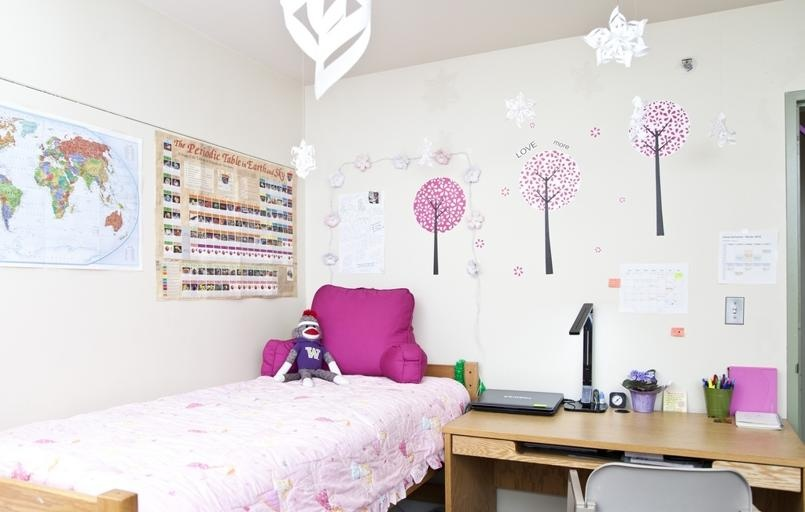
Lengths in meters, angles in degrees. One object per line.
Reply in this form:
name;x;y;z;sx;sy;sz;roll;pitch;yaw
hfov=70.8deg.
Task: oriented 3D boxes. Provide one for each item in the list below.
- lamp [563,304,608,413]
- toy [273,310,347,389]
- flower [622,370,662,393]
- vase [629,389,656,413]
lamp;1.093;0.609;3.385;0.248;0.646;0.417;1;-5;19
toy;-0.596;0.630;3.825;0.500;0.517;0.372;4;-16;-21
flower;1.437;0.753;3.396;0.220;0.126;0.157;0;-6;24
vase;1.419;0.851;3.350;0.136;0.104;0.134;0;-5;26
